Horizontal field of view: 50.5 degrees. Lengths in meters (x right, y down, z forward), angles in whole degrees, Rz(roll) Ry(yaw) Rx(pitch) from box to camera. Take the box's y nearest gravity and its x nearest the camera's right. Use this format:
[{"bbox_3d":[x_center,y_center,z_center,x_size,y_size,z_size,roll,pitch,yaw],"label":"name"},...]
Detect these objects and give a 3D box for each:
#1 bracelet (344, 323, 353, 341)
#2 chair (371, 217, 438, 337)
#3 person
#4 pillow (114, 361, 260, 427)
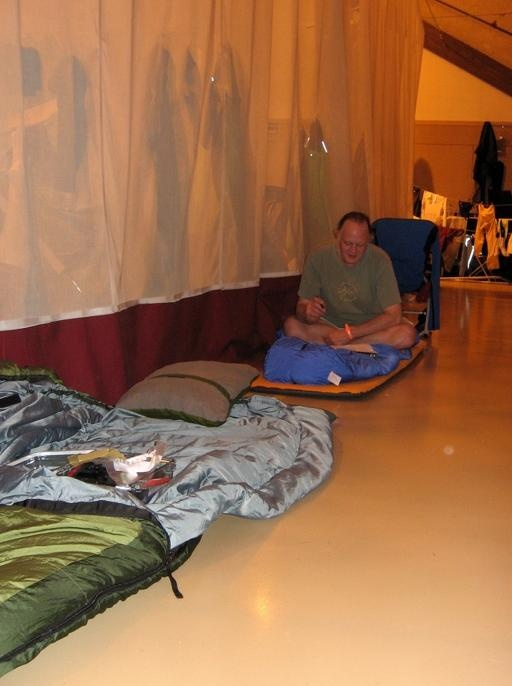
[{"bbox_3d":[0.528,-0.055,3.079,0.048,0.078,0.108,3,8,9],"label":"bracelet"},{"bbox_3d":[1.176,-0.530,4.330,0.543,0.891,0.522,4,10,19],"label":"chair"},{"bbox_3d":[0.563,-0.357,3.183,0.735,0.774,0.573,6,21,21],"label":"person"},{"bbox_3d":[-0.249,0.161,2.069,0.399,0.133,0.517,4,9,12],"label":"pillow"}]
